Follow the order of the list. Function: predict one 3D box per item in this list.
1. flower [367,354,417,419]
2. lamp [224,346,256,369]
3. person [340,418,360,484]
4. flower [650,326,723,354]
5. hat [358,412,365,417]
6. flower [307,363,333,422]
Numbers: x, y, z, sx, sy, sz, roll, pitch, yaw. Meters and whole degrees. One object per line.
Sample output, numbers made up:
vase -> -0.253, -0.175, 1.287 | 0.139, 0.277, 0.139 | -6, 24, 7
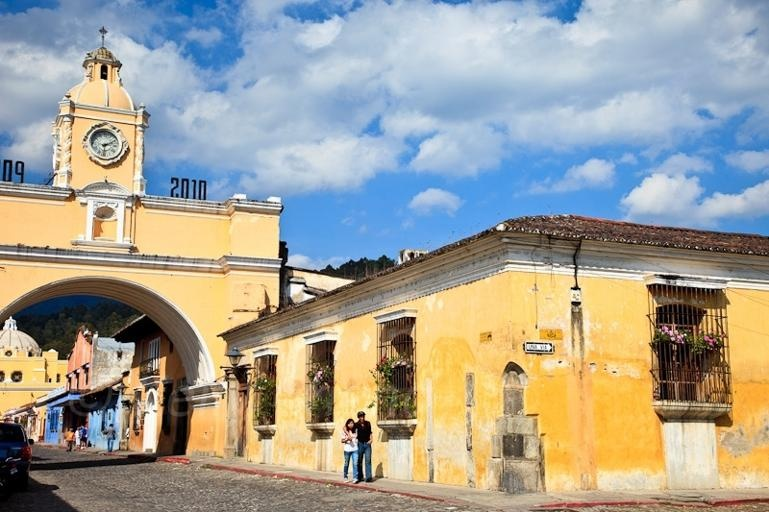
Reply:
flower -> 0.210, 3.453, 23.744 | 0.563, 1.556, 1.305 | 13, -18, -36
lamp -> -5.130, 3.613, 32.005 | 0.898, 0.552, 0.895 | 3, -11, -15
person -> -0.892, 4.993, 23.423 | 0.416, 1.603, 0.610 | 4, -14, -9
flower -> 7.333, 1.986, 22.033 | 1.876, 0.645, 0.479 | 7, -15, -17
hat -> -0.591, 4.103, 23.584 | 0.130, 0.098, 0.187 | 1, 2, 30
flower -> -1.852, 3.994, 26.689 | 0.501, 1.500, 1.106 | 2, -6, -35
